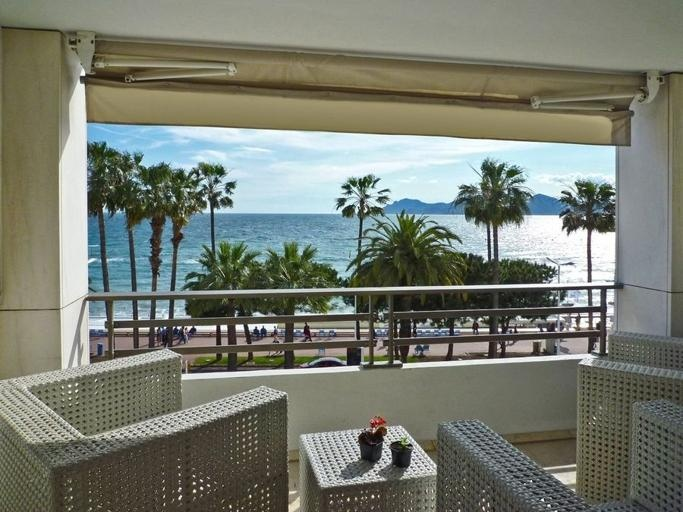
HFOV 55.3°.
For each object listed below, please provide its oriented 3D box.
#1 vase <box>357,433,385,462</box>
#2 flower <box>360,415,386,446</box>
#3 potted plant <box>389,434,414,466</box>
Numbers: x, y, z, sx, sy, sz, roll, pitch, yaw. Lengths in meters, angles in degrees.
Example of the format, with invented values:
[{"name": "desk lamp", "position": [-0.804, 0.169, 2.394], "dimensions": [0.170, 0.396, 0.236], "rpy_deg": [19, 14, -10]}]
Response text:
[{"name": "vase", "position": [0.148, 0.996, 3.432], "dimensions": [0.107, 0.107, 0.134], "rpy_deg": [-1, -2, 22]}, {"name": "flower", "position": [0.161, 0.914, 3.429], "dimensions": [0.111, 0.064, 0.121], "rpy_deg": [-7, 7, 0]}, {"name": "potted plant", "position": [0.308, 1.004, 3.391], "dimensions": [0.124, 0.143, 0.112], "rpy_deg": [-2, 4, -17]}]
